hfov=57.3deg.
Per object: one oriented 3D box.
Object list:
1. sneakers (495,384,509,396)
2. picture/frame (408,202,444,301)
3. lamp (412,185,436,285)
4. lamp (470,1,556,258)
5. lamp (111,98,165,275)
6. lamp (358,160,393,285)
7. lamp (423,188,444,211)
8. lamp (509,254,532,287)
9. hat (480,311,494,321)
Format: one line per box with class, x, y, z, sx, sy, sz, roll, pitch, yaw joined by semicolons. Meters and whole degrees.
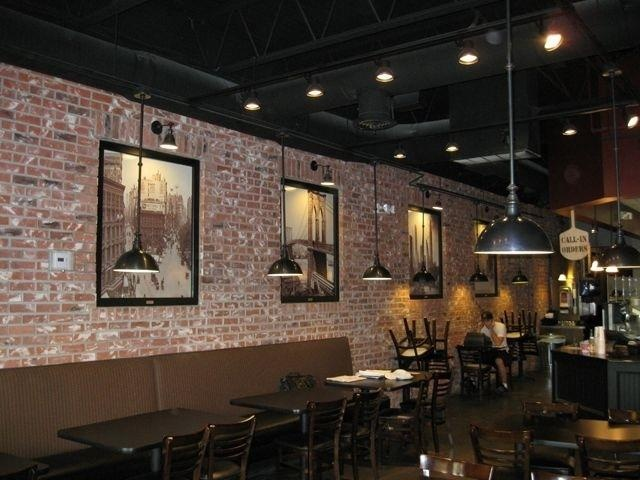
sneakers;3.774;3.134;12.206;0.143;0.159;0.372;-6;-15;28
picture/frame;2.029;0.244;11.457;0.073;1.756;1.743;-6;-12;30
lamp;1.909;-0.084;11.052;0.350;1.842;1.454;-2;-4;10
lamp;1.588;-1.097;4.955;0.580;2.483;1.567;-3;-5;20
lamp;-1.976;-0.651;6.342;0.448;2.013;1.167;0;-5;-18
lamp;0.904;-0.335;9.707;0.430;2.052;1.674;-2;-4;7
lamp;2.263;-0.779;11.572;0.403;0.444;0.450;0;-8;1
lamp;5.231;0.795;15.388;0.387;0.817;2.113;-3;-5;18
hat;3.566;1.601;12.517;0.161;0.207;0.199;-6;16;5
